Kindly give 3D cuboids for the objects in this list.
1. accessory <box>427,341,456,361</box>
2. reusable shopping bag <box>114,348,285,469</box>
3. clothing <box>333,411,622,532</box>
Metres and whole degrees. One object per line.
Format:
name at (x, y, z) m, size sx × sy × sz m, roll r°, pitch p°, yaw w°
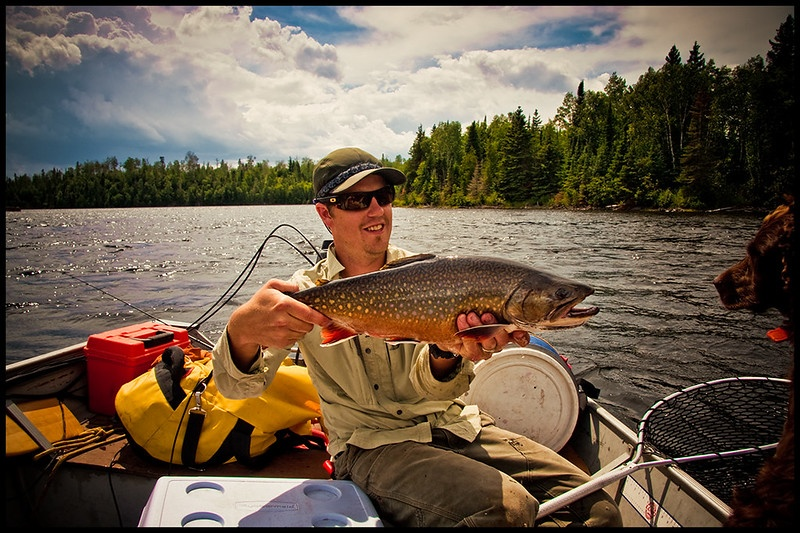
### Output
accessory at (0.408, 0.843, 4.754) m, size 0.219 × 0.072 × 0.160 m, roll 13°, pitch -1°, yaw 13°
reusable shopping bag at (-2.539, 1.805, 5.962) m, size 1.825 × 0.774 × 1.367 m, roll 15°, pitch 12°, yaw -14°
clothing at (0.681, 2.085, 4.548) m, size 1.626 × 0.408 × 1.194 m, roll 17°, pitch -20°, yaw 8°
